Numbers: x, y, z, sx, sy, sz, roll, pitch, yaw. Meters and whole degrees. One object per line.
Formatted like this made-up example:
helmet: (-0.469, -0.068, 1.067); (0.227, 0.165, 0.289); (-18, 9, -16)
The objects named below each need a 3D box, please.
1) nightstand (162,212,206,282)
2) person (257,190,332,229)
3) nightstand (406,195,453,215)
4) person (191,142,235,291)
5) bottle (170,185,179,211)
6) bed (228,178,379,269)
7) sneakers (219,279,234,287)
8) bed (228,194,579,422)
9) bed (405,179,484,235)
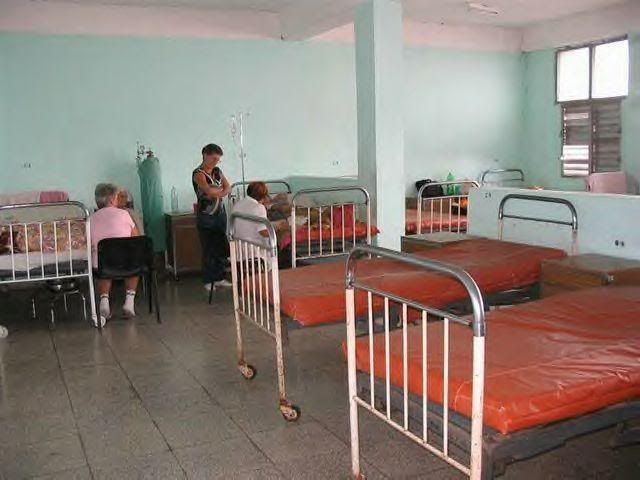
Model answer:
nightstand: (-1.712, 0.172, 7.059); (0.566, 0.834, 0.568); (-1, -7, -3)
person: (-0.361, -0.380, 6.805); (0.544, 0.221, 0.728); (-7, 16, -26)
nightstand: (1.813, -0.587, 8.380); (0.439, 0.277, 0.457); (1, 1, -2)
person: (-1.279, -0.244, 6.100); (0.405, 1.775, 0.289); (-5, 14, -15)
bottle: (-2.103, -0.602, 7.309); (0.121, 0.346, 0.056); (-5, 14, -18)
bed: (0.042, -0.152, 6.905); (1.373, 0.950, 1.620); (-1, 0, -5)
sneakers: (-1.205, 0.550, 6.432); (0.203, 0.079, 0.068); (-7, 19, -15)
bed: (0.774, 0.448, 4.601); (2.778, 1.732, 1.346); (-5, 9, -20)
bed: (1.858, -0.499, 7.876); (0.996, 0.787, 1.231); (-7, 18, -20)
